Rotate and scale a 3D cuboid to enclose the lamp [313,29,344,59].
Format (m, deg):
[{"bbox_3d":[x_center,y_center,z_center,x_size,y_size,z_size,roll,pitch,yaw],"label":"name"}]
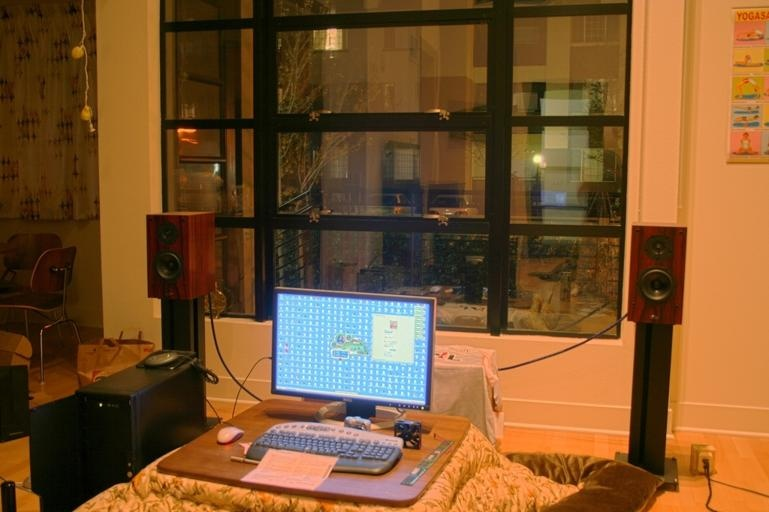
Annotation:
[{"bbox_3d":[-0.459,-1.762,5.572,0.214,0.207,0.115,4,12,14],"label":"lamp"}]

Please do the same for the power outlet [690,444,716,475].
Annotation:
[{"bbox_3d":[2.226,1.409,4.786,0.186,0.265,0.191,0,1,12],"label":"power outlet"}]

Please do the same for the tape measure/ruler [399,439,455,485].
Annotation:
[{"bbox_3d":[0.208,1.019,3.376,0.068,0.408,0.031,24,29,-28],"label":"tape measure/ruler"}]

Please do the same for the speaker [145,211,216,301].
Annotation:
[{"bbox_3d":[-1.445,0.003,4.841,0.488,0.633,0.247,-4,9,-32],"label":"speaker"}]

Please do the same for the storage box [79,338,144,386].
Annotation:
[{"bbox_3d":[-2.145,0.782,5.313,0.376,0.398,0.500,5,12,24],"label":"storage box"}]

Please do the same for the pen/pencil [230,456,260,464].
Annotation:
[{"bbox_3d":[-0.697,1.015,3.369,0.126,0.021,0.024,3,42,11],"label":"pen/pencil"}]

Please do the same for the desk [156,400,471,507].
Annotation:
[{"bbox_3d":[-0.344,0.992,3.537,1.491,0.254,0.703,2,8,11],"label":"desk"}]

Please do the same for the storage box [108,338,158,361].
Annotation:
[{"bbox_3d":[-2.042,0.714,5.396,0.258,0.145,0.393,-2,-7,45],"label":"storage box"}]
